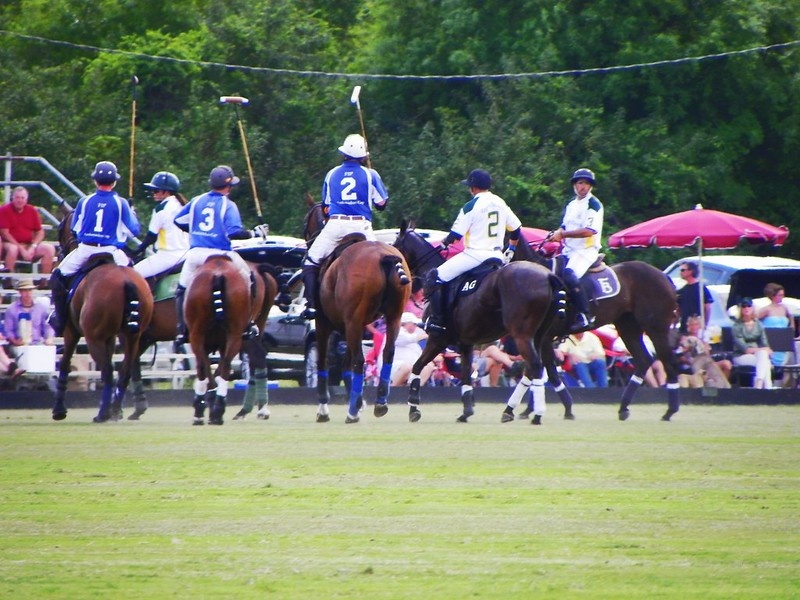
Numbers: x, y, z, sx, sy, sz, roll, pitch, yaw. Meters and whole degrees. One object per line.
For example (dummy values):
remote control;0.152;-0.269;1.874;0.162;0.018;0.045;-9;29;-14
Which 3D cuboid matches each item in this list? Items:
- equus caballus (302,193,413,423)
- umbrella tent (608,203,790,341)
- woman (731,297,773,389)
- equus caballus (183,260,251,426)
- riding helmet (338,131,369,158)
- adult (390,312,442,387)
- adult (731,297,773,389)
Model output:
equus caballus;-0.526;0.407;28.523;1.075;2.852;1.669;4;-8;-29
umbrella tent;5.223;-0.622;34.828;2.940;1.418;2.512;-1;-2;-12
woman;6.098;0.789;32.756;0.668;1.507;0.698;-1;-7;9
equus caballus;-2.763;0.600;28.418;1.000;2.558;0.985;0;-7;-5
riding helmet;-0.738;-2.395;29.124;0.412;0.257;0.466;-2;23;-21
adult;0.087;0.840;32.341;0.504;1.429;1.229;4;1;-33
adult;6.098;0.789;32.756;0.668;1.507;0.698;-1;-7;9
